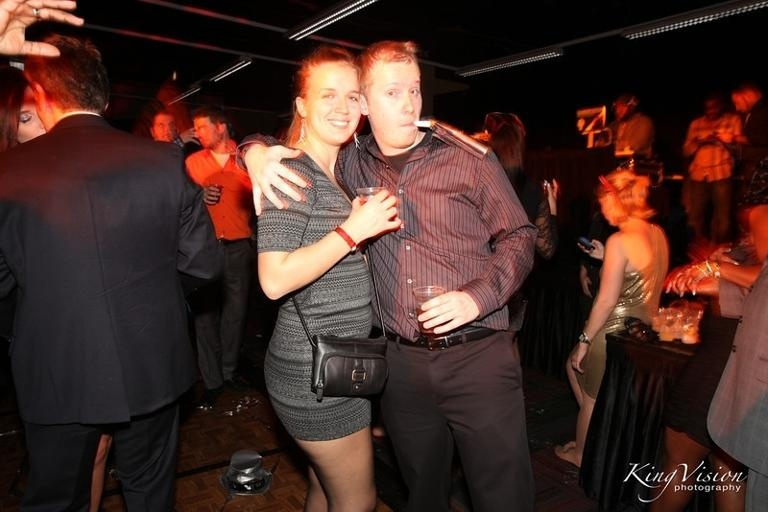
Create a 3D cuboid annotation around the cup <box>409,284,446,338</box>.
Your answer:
[{"bbox_3d":[0.225,0.273,2.423,0.159,0.253,0.228,1,6,5],"label":"cup"}]

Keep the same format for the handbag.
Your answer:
[{"bbox_3d":[-0.171,0.507,2.258,0.330,0.233,0.151,0,6,-22],"label":"handbag"}]

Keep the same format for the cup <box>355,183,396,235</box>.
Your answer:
[{"bbox_3d":[-0.052,-0.263,2.401,0.178,0.124,0.188,-1,-1,0],"label":"cup"}]

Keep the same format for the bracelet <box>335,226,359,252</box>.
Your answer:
[{"bbox_3d":[-0.167,-0.079,2.226,0.029,0.110,0.106,-48,2,-4],"label":"bracelet"}]

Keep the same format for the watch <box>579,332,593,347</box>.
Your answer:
[{"bbox_3d":[1.463,0.601,3.629,0.110,0.103,0.072,0,-16,-8],"label":"watch"}]

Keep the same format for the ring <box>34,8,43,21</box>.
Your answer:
[{"bbox_3d":[-1.497,-1.050,2.131,0.017,0.037,0.037,-29,13,-19],"label":"ring"}]

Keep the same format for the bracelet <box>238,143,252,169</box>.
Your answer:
[{"bbox_3d":[-0.702,-0.515,2.468,0.065,0.111,0.206,-2,6,-17],"label":"bracelet"}]
